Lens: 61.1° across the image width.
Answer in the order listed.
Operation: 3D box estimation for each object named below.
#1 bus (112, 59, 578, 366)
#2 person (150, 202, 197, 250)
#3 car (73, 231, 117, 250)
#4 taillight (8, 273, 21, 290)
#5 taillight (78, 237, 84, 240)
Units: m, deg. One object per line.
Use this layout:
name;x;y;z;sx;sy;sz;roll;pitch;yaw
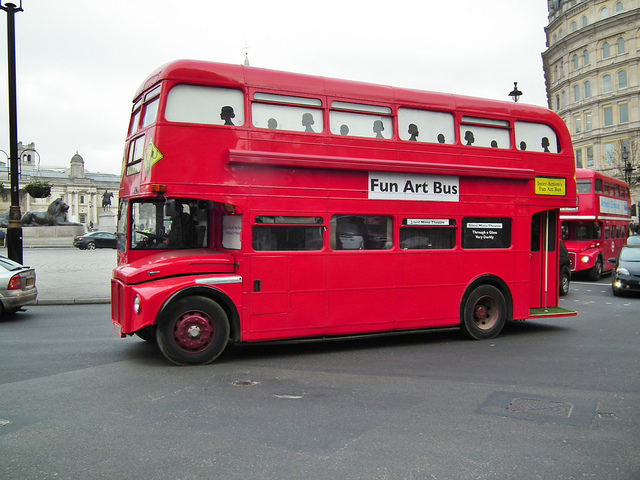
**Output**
bus;0.934;-0.548;11.485;10.151;4.823;3.262;0;2;-25
person;-2.557;-0.249;9.826;0.761;1.031;0.689;2;5;1
car;-17.473;0.058;42.157;3.252;1.092;1.417;-2;2;-30
taillight;-7.335;0.984;12.970;0.050;0.401;0.386;2;0;30
taillight;-18.579;-0.160;42.107;0.557;0.151;0.120;1;3;21
